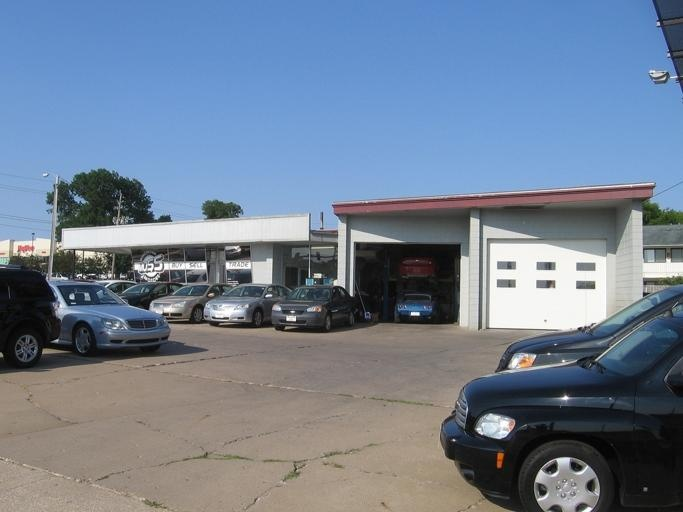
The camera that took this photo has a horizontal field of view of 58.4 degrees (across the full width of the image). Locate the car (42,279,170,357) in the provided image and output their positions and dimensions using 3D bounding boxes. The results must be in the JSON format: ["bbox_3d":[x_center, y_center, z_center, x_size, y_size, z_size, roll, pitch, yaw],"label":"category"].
[{"bbox_3d":[-5.384,1.309,13.795,3.266,0.930,1.342,-1,-3,35],"label":"car"}]

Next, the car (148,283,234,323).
[{"bbox_3d":[-5.506,1.677,22.768,1.299,0.835,2.633,-2,-5,30],"label":"car"}]

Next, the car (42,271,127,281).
[{"bbox_3d":[-23.161,1.804,55.640,9.465,0.750,0.726,4,2,24],"label":"car"}]

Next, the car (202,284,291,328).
[{"bbox_3d":[-3.182,1.722,21.889,1.441,0.956,2.971,-1,-5,23],"label":"car"}]

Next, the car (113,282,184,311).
[{"bbox_3d":[-7.878,1.620,24.921,1.020,0.677,2.089,-3,-5,38],"label":"car"}]

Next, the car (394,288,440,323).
[{"bbox_3d":[3.057,2.129,24.906,1.654,1.127,1.604,1,0,4],"label":"car"}]

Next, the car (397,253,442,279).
[{"bbox_3d":[3.736,0.563,29.745,1.811,1.039,1.711,1,0,6],"label":"car"}]
